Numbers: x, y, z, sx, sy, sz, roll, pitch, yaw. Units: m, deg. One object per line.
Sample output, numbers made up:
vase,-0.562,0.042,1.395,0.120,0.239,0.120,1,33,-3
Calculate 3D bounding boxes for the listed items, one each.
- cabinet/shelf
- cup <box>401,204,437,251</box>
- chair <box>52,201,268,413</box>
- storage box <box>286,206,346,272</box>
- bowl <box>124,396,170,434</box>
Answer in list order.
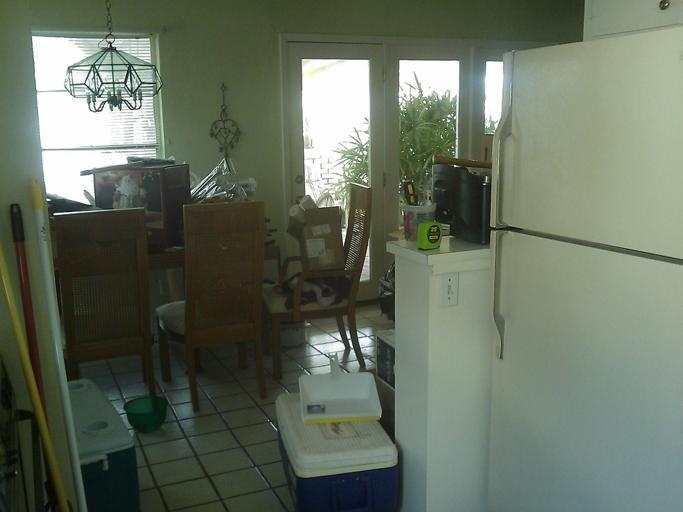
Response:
cabinet/shelf,-1.267,-0.307,3.790,0.538,0.511,0.184,1,6,8
cup,0.295,-0.109,2.206,0.147,0.168,0.146,0,7,0
chair,-1.040,0.300,3.403,0.851,1.766,0.724,-6,21,-25
storage box,-0.128,-0.118,3.943,0.375,0.517,0.386,-3,4,-6
bowl,-1.095,0.874,3.316,0.308,0.200,0.307,0,-10,0
